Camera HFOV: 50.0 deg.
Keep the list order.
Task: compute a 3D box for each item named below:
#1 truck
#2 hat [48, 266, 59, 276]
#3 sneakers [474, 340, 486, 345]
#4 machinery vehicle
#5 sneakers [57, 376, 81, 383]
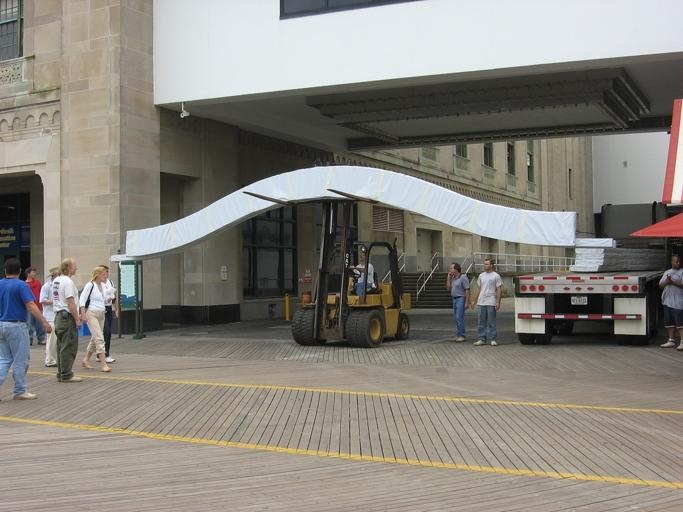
[{"bbox_3d":[7.009,0.598,19.817,2.901,3.066,4.801,-1,-2,33],"label":"truck"},{"bbox_3d":[-6.958,0.381,17.629,0.180,0.254,0.250,-1,27,7],"label":"hat"},{"bbox_3d":[3.540,2.235,18.760,0.302,0.150,0.116,6,-5,-26],"label":"sneakers"},{"bbox_3d":[0.331,0.515,19.836,2.169,3.932,3.105,-2,-2,37],"label":"machinery vehicle"},{"bbox_3d":[-5.204,2.361,13.987,0.402,0.186,0.173,1,-2,-7],"label":"sneakers"}]
